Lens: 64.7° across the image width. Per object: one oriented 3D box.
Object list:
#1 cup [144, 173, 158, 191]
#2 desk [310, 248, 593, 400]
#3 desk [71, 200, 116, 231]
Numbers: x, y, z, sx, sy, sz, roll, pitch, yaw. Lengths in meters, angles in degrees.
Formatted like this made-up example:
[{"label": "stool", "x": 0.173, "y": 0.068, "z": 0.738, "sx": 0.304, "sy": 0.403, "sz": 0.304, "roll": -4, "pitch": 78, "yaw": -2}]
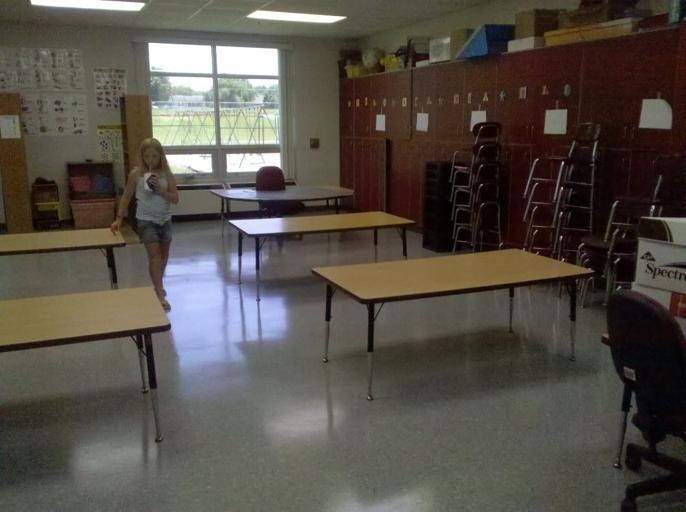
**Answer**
[{"label": "cup", "x": -1.896, "y": -0.734, "z": 5.387, "sx": 0.130, "sy": 0.232, "sz": 0.140, "roll": 0, "pitch": 9, "yaw": 0}, {"label": "desk", "x": 0.872, "y": 0.499, "z": 4.517, "sx": 2.068, "sy": 0.846, "sz": 0.907, "roll": -6, "pitch": 13, "yaw": -18}, {"label": "desk", "x": -4.426, "y": -0.763, "z": 9.529, "sx": 0.642, "sy": 0.441, "sz": 0.651, "roll": -3, "pitch": 8, "yaw": -24}]
